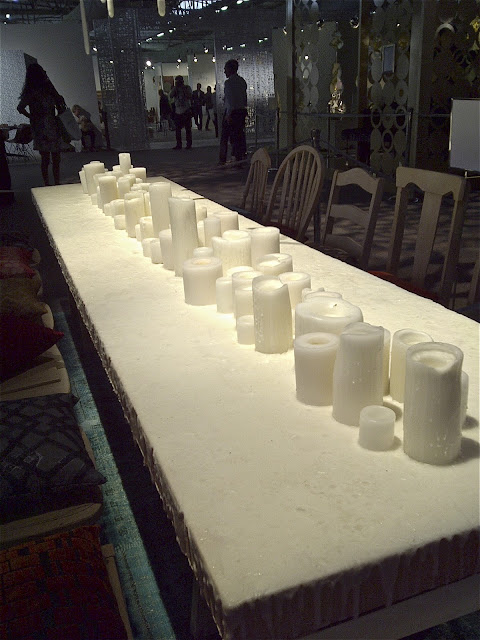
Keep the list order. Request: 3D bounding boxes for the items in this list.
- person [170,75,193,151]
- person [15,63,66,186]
[{"bbox_3d":[-1.236,-4.361,9.391,0.460,1.438,0.695,5,8,-6],"label":"person"},{"bbox_3d":[-2.290,-2.234,5.153,0.499,1.227,0.734,2,10,-28],"label":"person"}]
